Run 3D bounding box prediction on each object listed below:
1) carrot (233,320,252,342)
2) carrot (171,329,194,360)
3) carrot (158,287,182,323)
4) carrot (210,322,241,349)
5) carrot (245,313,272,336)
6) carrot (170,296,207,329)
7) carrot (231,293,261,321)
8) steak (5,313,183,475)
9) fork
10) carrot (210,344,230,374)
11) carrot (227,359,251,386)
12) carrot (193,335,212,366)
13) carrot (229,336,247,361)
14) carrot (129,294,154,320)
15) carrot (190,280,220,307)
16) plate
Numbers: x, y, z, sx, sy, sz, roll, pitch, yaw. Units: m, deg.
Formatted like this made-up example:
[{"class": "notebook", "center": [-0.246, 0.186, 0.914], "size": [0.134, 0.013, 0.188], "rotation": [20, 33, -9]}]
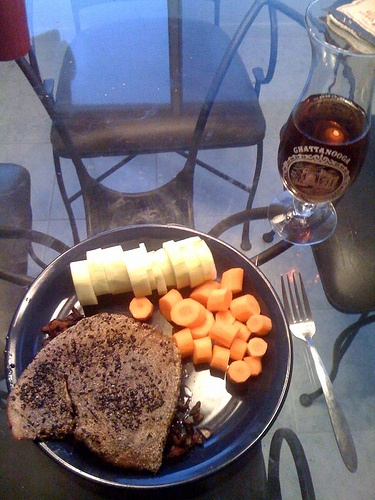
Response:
[{"class": "carrot", "center": [0.159, 0.232, 1.229], "size": [0.046, 0.034, 0.035], "rotation": [31, 51, 11]}, {"class": "carrot", "center": [-0.008, 0.254, 1.200], "size": [0.055, 0.075, 0.082], "rotation": [-14, 91, -10]}, {"class": "carrot", "center": [-0.051, 0.164, 1.260], "size": [0.040, 0.082, 0.067], "rotation": [-18, 32, -36]}, {"class": "carrot", "center": [0.104, 0.234, 1.220], "size": [0.075, 0.071, 0.066], "rotation": [17, 57, 15]}, {"class": "carrot", "center": [0.196, 0.203, 1.186], "size": [0.054, 0.036, 0.058], "rotation": [17, 95, 30]}, {"class": "carrot", "center": [0.000, 0.181, 1.244], "size": [0.073, 0.027, 0.079], "rotation": [7, 71, -1]}, {"class": "carrot", "center": [0.159, 0.162, 1.226], "size": [0.072, 0.072, 0.078], "rotation": [9, 62, -30]}, {"class": "steak", "center": [-0.200, 0.341, 1.053], "size": [0.324, 0.049, 0.341], "rotation": [23, 60, 3]}, {"class": "fork", "center": [0.331, 0.262, 1.227], "size": [0.082, 0.071, 0.646], "rotation": [-7, 61, -8]}, {"class": "carrot", "center": [0.087, 0.301, 1.219], "size": [0.049, 0.069, 0.072], "rotation": [12, 55, -1]}, {"class": "carrot", "center": [0.132, 0.315, 1.114], "size": [0.052, 0.013, 0.057], "rotation": [-1, 67, 11]}, {"class": "carrot", "center": [0.041, 0.277, 1.228], "size": [0.054, 0.068, 0.080], "rotation": [-3, 99, -10]}, {"class": "carrot", "center": [0.139, 0.274, 1.194], "size": [0.042, 0.055, 0.058], "rotation": [18, 58, 8]}, {"class": "carrot", "center": [-0.137, 0.167, 1.256], "size": [0.059, 0.034, 0.064], "rotation": [-2, 72, -1]}, {"class": "carrot", "center": [0.051, 0.122, 1.294], "size": [0.067, 0.045, 0.072], "rotation": [25, 57, 25]}, {"class": "plate", "center": [-0.023, 0.316, 1.315], "size": [0.723, 0.596, 0.890], "rotation": [-4, 43, 4]}]
